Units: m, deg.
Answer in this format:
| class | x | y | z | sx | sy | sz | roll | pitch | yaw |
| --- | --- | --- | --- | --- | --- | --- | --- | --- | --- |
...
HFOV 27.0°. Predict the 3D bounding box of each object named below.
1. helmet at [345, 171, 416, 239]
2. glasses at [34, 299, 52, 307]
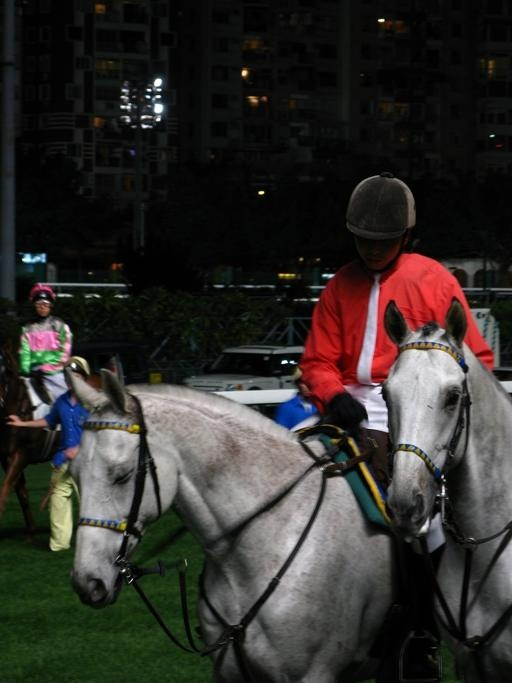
| class | x | y | z | sx | sy | sz | roll | pitch | yaw |
| --- | --- | --- | --- | --- | --- | --- | --- | --- | --- |
| helmet | 0.377 | -0.409 | 3.235 | 0.208 | 0.201 | 0.201 | 0 | 3 | 3 |
| glasses | -1.521 | -0.278 | 7.602 | 0.073 | 0.061 | 0.022 | 2 | 24 | -1 |
